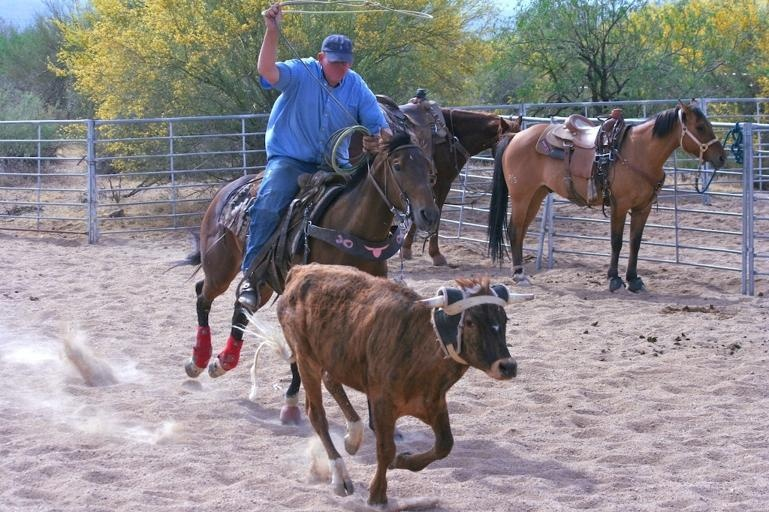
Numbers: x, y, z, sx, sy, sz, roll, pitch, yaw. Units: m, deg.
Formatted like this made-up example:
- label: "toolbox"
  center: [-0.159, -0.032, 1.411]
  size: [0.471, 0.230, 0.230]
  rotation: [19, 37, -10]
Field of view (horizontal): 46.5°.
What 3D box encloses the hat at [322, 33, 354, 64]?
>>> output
- label: "hat"
  center: [-0.541, -2.314, 10.008]
  size: [0.341, 0.313, 0.200]
  rotation: [0, 8, -5]
